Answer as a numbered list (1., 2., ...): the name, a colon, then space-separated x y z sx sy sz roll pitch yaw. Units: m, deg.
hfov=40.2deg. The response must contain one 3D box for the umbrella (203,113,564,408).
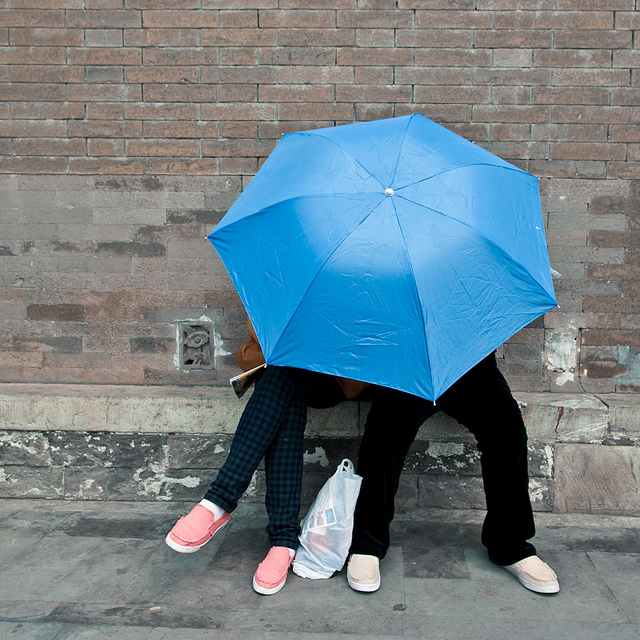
1. umbrella: 0.294 -0.309 3.925 1.503 1.166 0.792 1 7 12

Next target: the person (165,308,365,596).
1. person: -0.265 0.601 4.335 0.960 1.306 0.364 3 2 4

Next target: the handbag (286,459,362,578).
1. handbag: 0.016 0.953 4.178 0.354 0.525 0.222 21 10 32

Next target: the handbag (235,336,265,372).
1. handbag: -0.359 0.179 4.275 0.162 0.157 0.161 15 -26 -13
